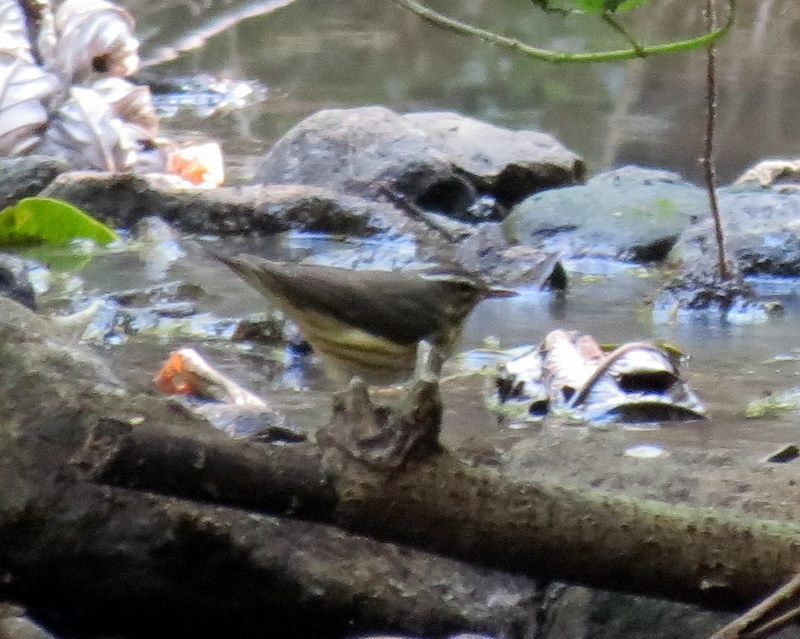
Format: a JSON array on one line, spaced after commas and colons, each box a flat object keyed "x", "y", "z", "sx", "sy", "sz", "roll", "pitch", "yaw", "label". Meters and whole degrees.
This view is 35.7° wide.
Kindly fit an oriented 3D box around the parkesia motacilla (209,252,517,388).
[{"x": -0.041, "y": 0.004, "z": 2.041, "sx": 0.551, "sy": 0.151, "sz": 0.140, "roll": 15, "pitch": -4, "yaw": -1, "label": "parkesia motacilla"}]
